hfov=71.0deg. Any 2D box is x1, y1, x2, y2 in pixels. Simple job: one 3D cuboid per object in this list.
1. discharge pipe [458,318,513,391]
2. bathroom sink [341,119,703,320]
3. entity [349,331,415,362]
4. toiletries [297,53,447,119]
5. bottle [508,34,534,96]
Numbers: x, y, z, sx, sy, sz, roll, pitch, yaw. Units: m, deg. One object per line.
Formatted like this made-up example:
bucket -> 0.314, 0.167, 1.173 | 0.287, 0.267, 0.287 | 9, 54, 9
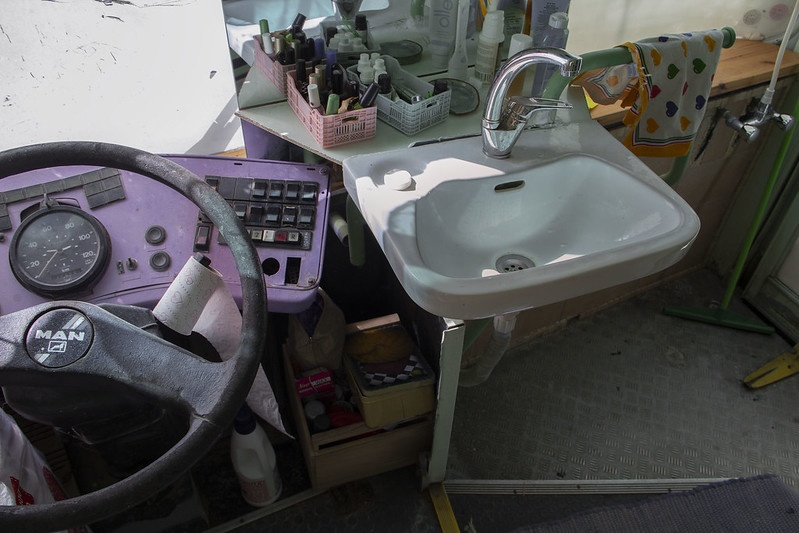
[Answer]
discharge pipe -> 0.260, 0.256, 1.729 | 0.170, 0.429, 0.079 | 11, 42, 18
bathroom sink -> 0.302, -0.124, 1.475 | 0.805, 0.261, 0.531 | -14, 42, -12
entity -> -0.071, 0.261, 1.827 | 0.149, 0.040, 0.114 | 12, 50, 18
toiletries -> -0.099, -0.531, 1.658 | 0.294, 0.055, 0.238 | -21, 48, -29
bottle -> 0.361, -0.622, 1.693 | 0.066, 0.063, 0.264 | 6, 63, 15
